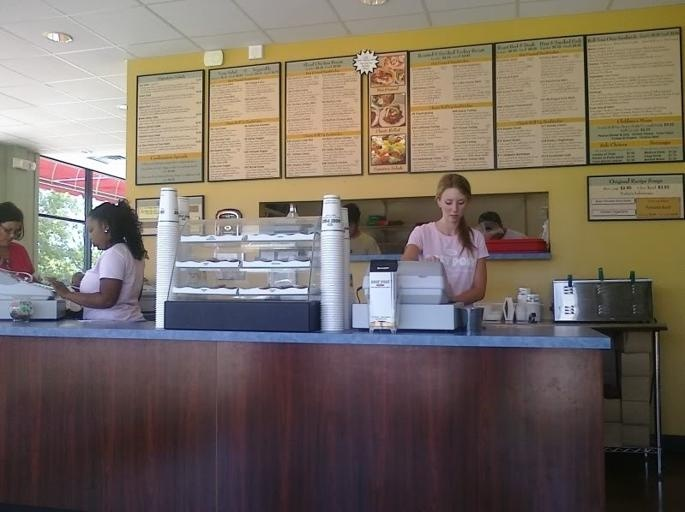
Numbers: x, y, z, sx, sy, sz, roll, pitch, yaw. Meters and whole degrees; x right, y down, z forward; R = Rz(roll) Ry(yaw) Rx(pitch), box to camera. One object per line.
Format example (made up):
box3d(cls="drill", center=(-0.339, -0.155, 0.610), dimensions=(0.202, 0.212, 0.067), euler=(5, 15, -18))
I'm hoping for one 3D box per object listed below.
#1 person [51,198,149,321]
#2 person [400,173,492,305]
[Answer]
box3d(cls="person", center=(-1.416, 0.008, 3.960), dimensions=(0.397, 0.722, 0.529), euler=(0, -4, 7))
box3d(cls="person", center=(0.586, -0.100, 3.905), dimensions=(0.480, 0.751, 0.340), euler=(-1, -4, 11))
